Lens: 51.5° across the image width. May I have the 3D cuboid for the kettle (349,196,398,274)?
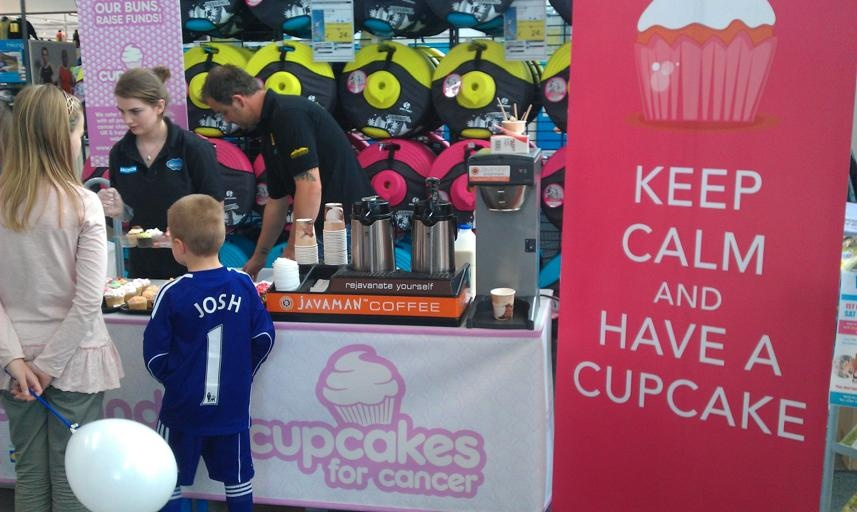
[{"bbox_3d":[-0.283,-0.099,4.539,0.212,0.384,0.193,-1,17,5],"label":"kettle"}]

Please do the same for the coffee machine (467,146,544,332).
[{"bbox_3d":[0.378,-0.132,4.406,0.273,1.063,0.331,1,6,11],"label":"coffee machine"}]
